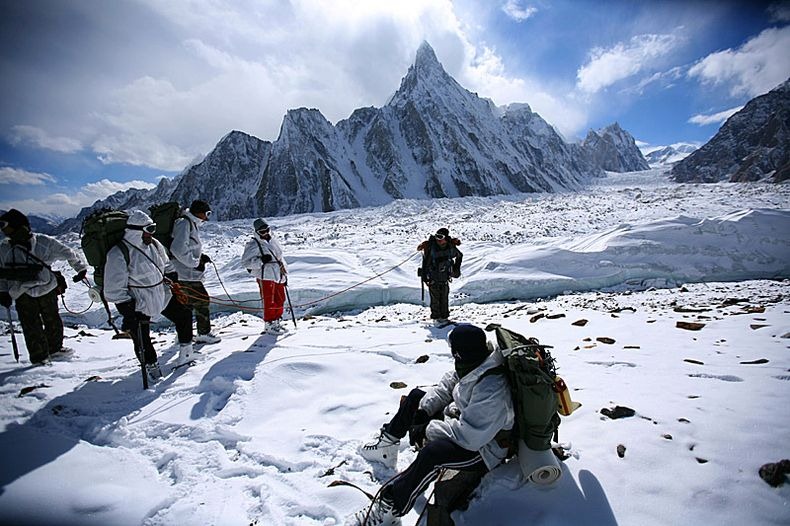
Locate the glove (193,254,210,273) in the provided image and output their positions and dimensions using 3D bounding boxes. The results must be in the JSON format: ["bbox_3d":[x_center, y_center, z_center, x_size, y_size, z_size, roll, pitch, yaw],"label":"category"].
[{"bbox_3d":[-4.398,0.022,9.777,0.278,0.384,0.124,1,-31,12],"label":"glove"}]

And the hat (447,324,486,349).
[{"bbox_3d":[0.945,0.964,5.742,0.414,0.311,0.288,-3,5,-7],"label":"hat"}]

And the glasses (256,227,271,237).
[{"bbox_3d":[-3.095,-0.710,10.084,0.239,0.131,0.203,-11,9,-3],"label":"glasses"}]

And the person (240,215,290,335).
[{"bbox_3d":[-3.046,0.286,10.265,0.738,2.750,0.859,-6,2,21],"label":"person"}]
